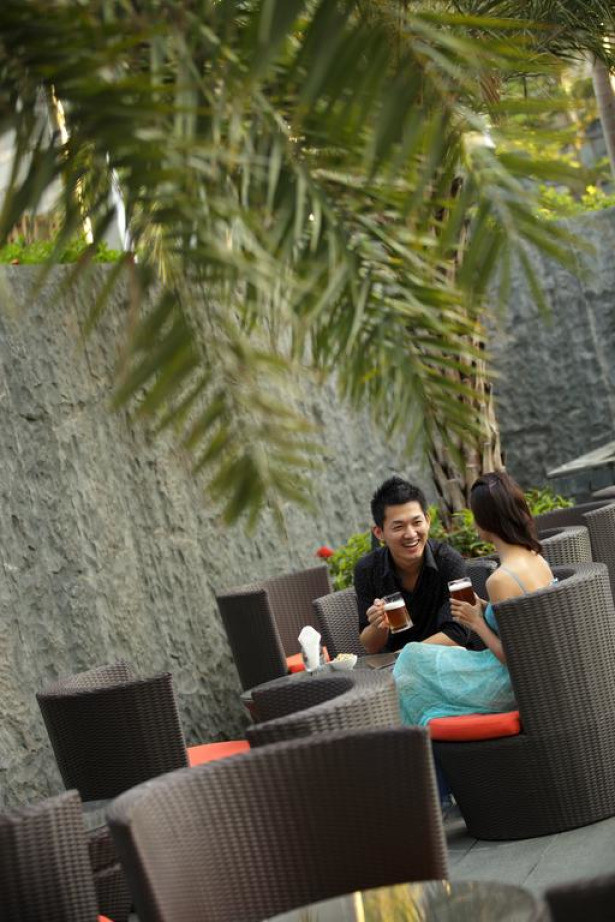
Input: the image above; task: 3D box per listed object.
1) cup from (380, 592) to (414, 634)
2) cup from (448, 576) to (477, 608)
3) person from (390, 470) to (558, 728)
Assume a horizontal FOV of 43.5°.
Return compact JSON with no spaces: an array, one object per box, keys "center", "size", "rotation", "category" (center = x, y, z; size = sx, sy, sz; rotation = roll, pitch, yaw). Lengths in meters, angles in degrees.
[{"center":[0.309,0.538,2.745],"size":[0.091,0.147,0.149],"rotation":[-21,-2,-9],"category":"cup"},{"center":[0.507,0.426,2.544],"size":[0.089,0.092,0.084],"rotation":[-15,-2,-1],"category":"cup"},{"center":[0.575,0.538,2.672],"size":[0.543,0.910,0.430],"rotation":[-2,0,25],"category":"person"}]
